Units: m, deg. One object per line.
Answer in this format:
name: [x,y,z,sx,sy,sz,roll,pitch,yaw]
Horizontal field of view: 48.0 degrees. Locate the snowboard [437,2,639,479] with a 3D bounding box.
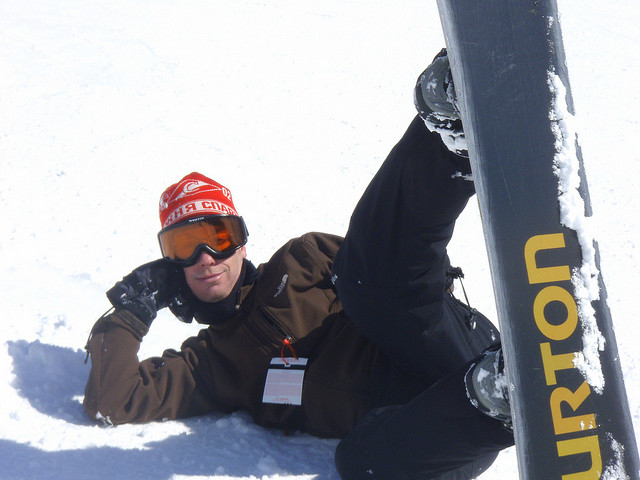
snowboard: [1.112,0.001,3.590,0.523,3.606,0.180,-5,-2,5]

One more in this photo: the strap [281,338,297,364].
strap: [-0.204,0.711,4.561,0.109,0.154,0.042,-2,0,5]

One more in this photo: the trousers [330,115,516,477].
trousers: [0.587,0.392,3.988,1.017,1.920,1.897,8,25,7]
